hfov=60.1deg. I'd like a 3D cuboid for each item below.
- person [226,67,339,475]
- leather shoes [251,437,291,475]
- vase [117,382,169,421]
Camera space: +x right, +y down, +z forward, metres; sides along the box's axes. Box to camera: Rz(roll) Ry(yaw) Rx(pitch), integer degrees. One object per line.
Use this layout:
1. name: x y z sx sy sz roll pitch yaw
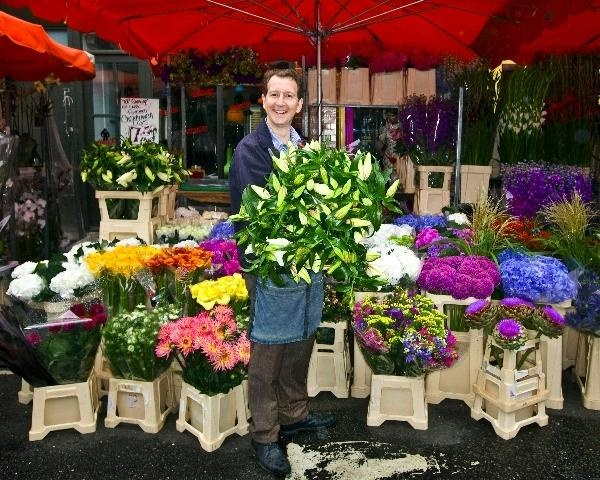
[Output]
1. person: -0.074 0.126 2.630 0.504 1.920 0.566 -8 16 -30
2. leather shoes: -0.140 1.073 2.592 0.116 0.115 0.224 -9 17 -32
3. vase: -0.925 0.937 2.988 0.307 0.190 0.309 20 -30 -39
